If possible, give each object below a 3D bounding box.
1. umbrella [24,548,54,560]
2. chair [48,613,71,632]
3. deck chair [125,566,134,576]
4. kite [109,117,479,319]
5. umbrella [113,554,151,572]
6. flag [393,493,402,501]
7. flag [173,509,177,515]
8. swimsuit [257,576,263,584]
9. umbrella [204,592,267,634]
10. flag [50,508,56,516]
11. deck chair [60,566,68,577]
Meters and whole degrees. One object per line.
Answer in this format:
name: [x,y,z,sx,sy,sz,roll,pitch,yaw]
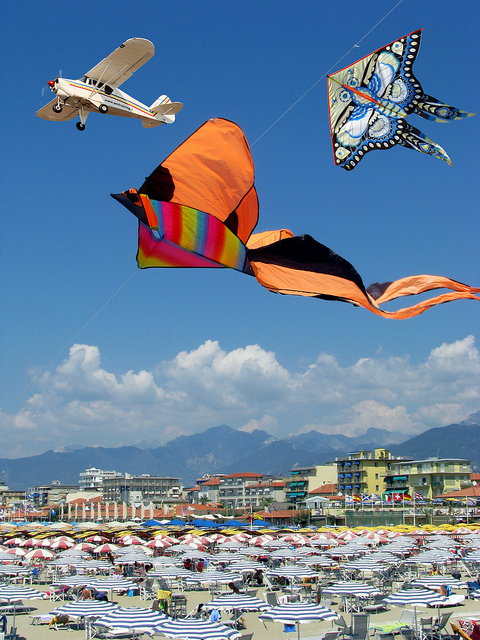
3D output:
umbrella: [-8.577,9.955,36.468,0.967,0.288,0.883,-2,-25,7]
chair: [-5.601,9.331,26.579,0.686,0.410,0.960,2,-10,-12]
deck chair: [-5.119,11.566,39.561,0.404,0.301,1.350,1,-10,-8]
kite: [0.310,-1.329,14.245,4.757,2.814,3.032,-2,-11,6]
umbrella: [-4.350,9.822,35.267,1.084,0.639,1.071,9,-8,-43]
flag: [14.759,16.658,80.628,0.903,0.763,0.144,4,-29,-1]
flag: [-7.784,22.876,102.114,0.420,0.559,0.465,3,-10,-9]
swimsuit: [0.847,11.388,37.496,0.228,0.233,0.064,33,2,8]
umbrella: [-0.152,7.571,23.128,1.552,0.894,1.420,-1,-1,-9]
flag: [-31.677,32.545,145.304,0.824,0.820,0.289,-34,-16,24]
deck chair: [-8.158,11.586,39.735,0.283,0.357,1.065,2,-10,-11]
